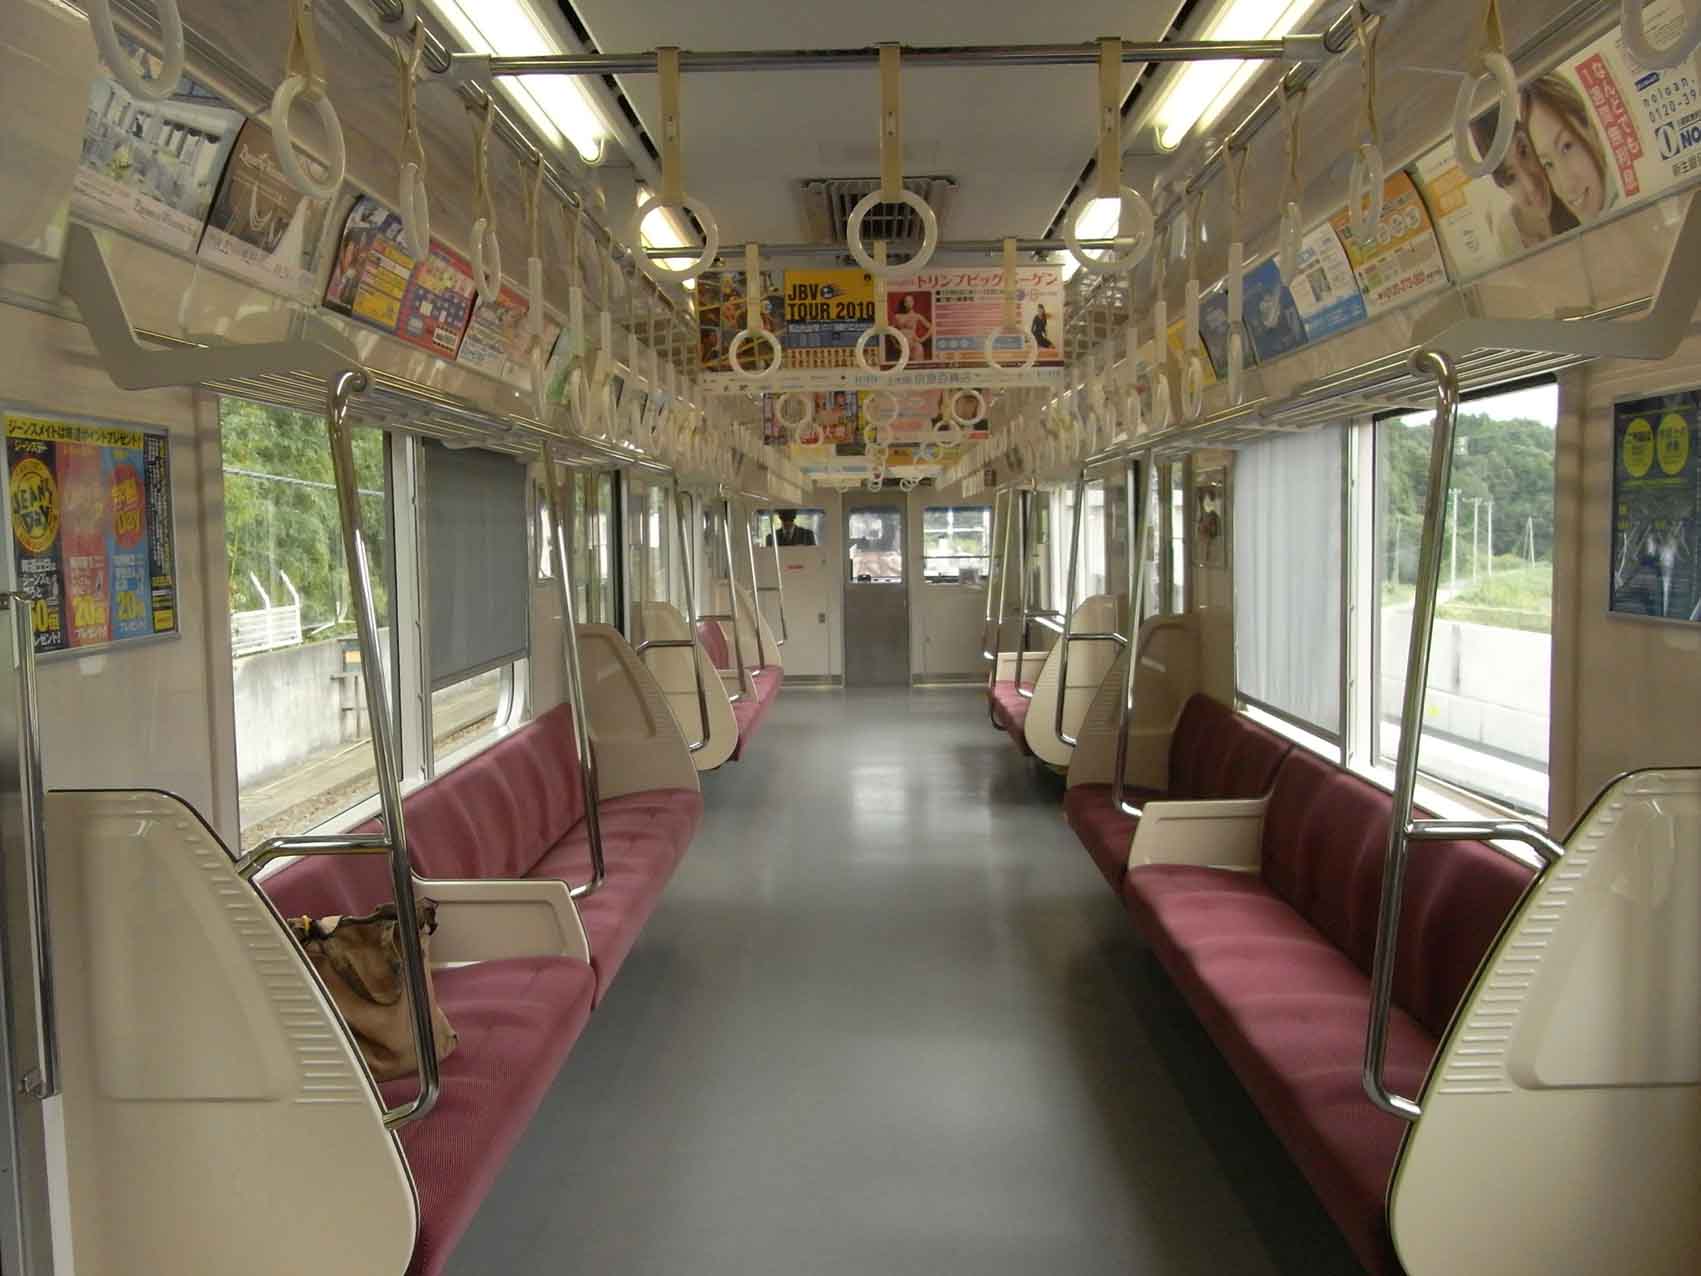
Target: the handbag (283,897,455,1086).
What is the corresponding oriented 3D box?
[{"bbox_3d":[-1.279,0.938,3.100,0.343,0.147,0.452,5,33,-36],"label":"handbag"}]
